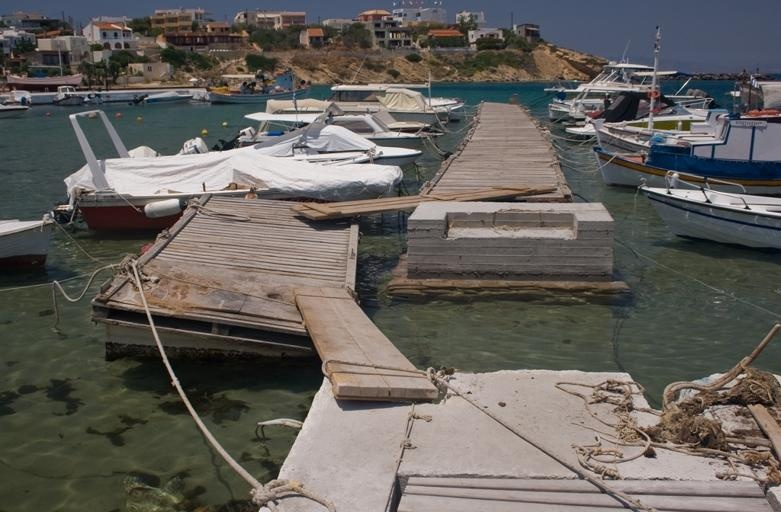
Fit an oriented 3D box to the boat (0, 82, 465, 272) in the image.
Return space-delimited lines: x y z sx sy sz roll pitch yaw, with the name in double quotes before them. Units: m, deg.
"boat" -4.669 -1.518 21.539 14.081 2.888 4.770 -2 28 -1
